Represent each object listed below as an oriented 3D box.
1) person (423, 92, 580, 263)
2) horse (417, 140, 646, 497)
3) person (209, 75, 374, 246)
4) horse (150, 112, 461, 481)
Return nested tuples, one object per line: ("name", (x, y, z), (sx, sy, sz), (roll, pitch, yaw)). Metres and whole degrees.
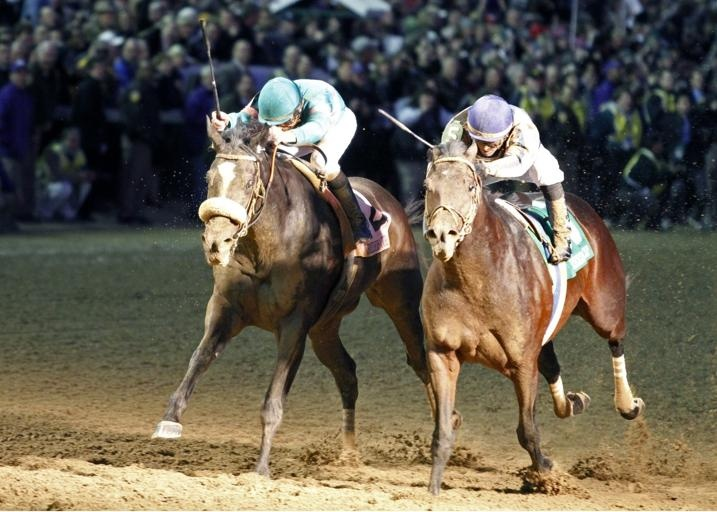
("person", (1.123, -0.651, 8.838), (1.038, 1.181, 1.575), (1, 12, 11))
("horse", (1.323, 0.375, 8.766), (0.812, 2.528, 2.291), (11, 13, 42))
("person", (-0.469, -0.842, 9.185), (1.338, 1.136, 1.845), (11, -1, 15))
("horse", (-0.503, 0.240, 8.811), (0.669, 2.545, 2.116), (11, 13, 43))
